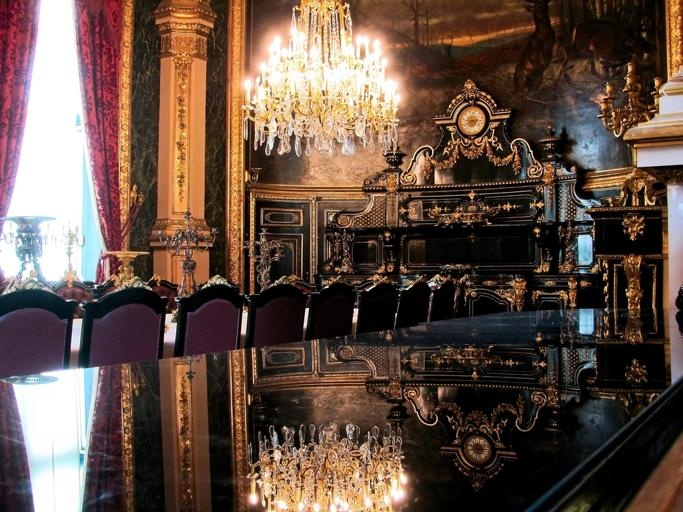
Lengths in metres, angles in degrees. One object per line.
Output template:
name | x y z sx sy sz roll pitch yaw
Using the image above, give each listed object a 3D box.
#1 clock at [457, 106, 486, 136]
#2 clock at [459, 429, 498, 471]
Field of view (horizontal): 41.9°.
clock | 1.498 -1.558 10.349 0.298 0.336 0.062 10 10 37
clock | 0.417 0.597 2.726 0.107 0.093 0.079 -1 -2 10
